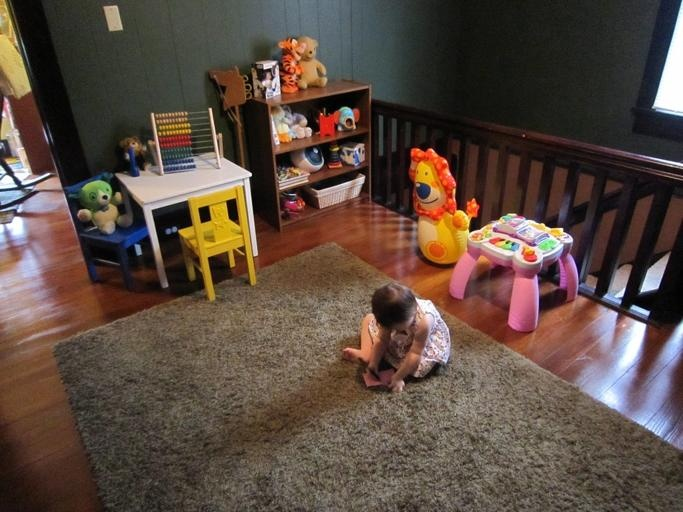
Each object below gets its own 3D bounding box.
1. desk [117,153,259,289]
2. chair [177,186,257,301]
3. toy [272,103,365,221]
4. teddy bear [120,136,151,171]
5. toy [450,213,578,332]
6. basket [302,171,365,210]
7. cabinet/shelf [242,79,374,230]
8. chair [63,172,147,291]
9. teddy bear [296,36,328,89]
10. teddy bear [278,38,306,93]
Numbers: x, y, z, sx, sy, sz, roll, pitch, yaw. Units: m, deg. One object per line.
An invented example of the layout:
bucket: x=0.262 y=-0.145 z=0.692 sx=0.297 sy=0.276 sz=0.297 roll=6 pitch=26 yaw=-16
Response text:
desk: x=-0.978 y=-0.314 z=3.452 sx=0.791 sy=0.756 sz=0.866 roll=-20 pitch=36 yaw=-26
chair: x=-0.809 y=-0.058 z=3.221 sx=0.394 sy=0.763 sz=0.402 roll=-20 pitch=46 yaw=-27
toy: x=-0.199 y=-0.754 z=3.944 sx=0.732 sy=0.726 sz=0.241 roll=-23 pitch=35 yaw=-35
teddy bear: x=-1.409 y=-0.695 z=3.359 sx=0.176 sy=0.225 sz=0.150 roll=-6 pitch=13 yaw=-9
toy: x=1.051 y=-0.057 z=3.041 sx=0.678 sy=0.573 sz=0.681 roll=-25 pitch=42 yaw=-30
basket: x=-0.045 y=-0.516 z=4.154 sx=0.441 sy=0.181 sz=0.310 roll=-26 pitch=40 yaw=-28
cabinet/shelf: x=-0.289 y=-0.796 z=3.866 sx=0.922 sy=0.920 sz=0.399 roll=-24 pitch=43 yaw=-28
chair: x=-1.561 y=-0.169 z=3.288 sx=0.345 sy=0.639 sz=0.434 roll=17 pitch=37 yaw=17
teddy bear: x=-0.238 y=-1.458 z=3.772 sx=0.232 sy=0.341 sz=0.243 roll=-19 pitch=32 yaw=-30
teddy bear: x=-0.370 y=-1.418 z=3.703 sx=0.189 sy=0.363 sz=0.152 roll=-6 pitch=28 yaw=-7
